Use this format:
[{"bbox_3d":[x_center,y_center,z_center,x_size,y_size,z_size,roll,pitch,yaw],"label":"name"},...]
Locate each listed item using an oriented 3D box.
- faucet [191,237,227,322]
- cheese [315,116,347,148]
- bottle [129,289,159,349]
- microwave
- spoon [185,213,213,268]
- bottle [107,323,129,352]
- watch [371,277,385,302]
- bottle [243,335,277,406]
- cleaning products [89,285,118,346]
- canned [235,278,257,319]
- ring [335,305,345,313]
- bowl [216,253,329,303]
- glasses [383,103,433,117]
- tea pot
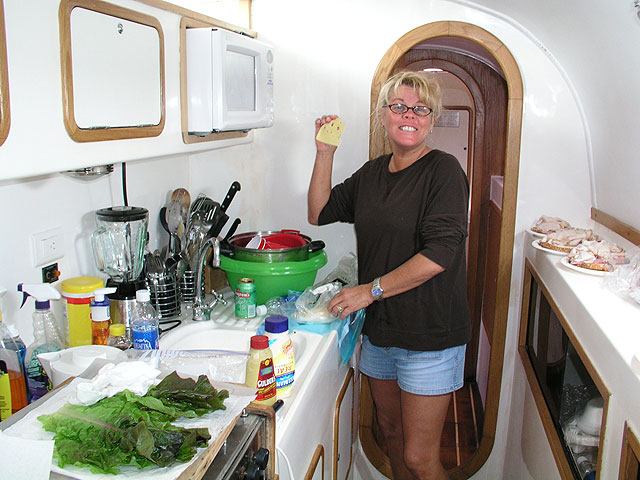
[{"bbox_3d":[-0.474,0.148,1.856,0.143,0.351,0.431,-3,10,-12],"label":"faucet"},{"bbox_3d":[0.048,-0.492,2.027,0.122,0.133,0.030,19,13,14],"label":"cheese"},{"bbox_3d":[-0.577,0.248,1.429,0.089,0.197,0.157,-5,10,-24],"label":"bottle"},{"bbox_3d":[-0.349,-0.603,1.678,0.256,0.336,0.503,3,17,13],"label":"microwave"},{"bbox_3d":[-0.530,-0.006,1.895,0.069,0.250,0.057,5,-17,-5],"label":"spoon"},{"bbox_3d":[-0.609,0.292,1.313,0.057,0.090,0.048,11,18,29],"label":"bottle"},{"bbox_3d":[0.224,0.193,1.704,0.046,0.081,0.074,0,7,6],"label":"watch"},{"bbox_3d":[-0.158,0.367,1.174,0.087,0.224,0.204,-2,9,-7],"label":"bottle"},{"bbox_3d":[-0.662,0.230,1.340,0.075,0.173,0.105,-6,10,-30],"label":"cleaning products"},{"bbox_3d":[-0.304,0.242,1.893,0.081,0.164,0.124,7,12,42],"label":"canned"},{"bbox_3d":[0.082,0.276,1.765,0.030,0.020,0.029,7,-10,1],"label":"ring"},{"bbox_3d":[-0.183,0.141,1.959,0.264,0.118,0.290,0,5,0],"label":"bowl"},{"bbox_3d":[0.368,-0.521,1.777,0.182,0.059,0.054,1,9,10],"label":"glasses"},{"bbox_3d":[-0.628,0.313,1.149,0.168,0.076,0.129,-1,15,-17],"label":"tea pot"}]
